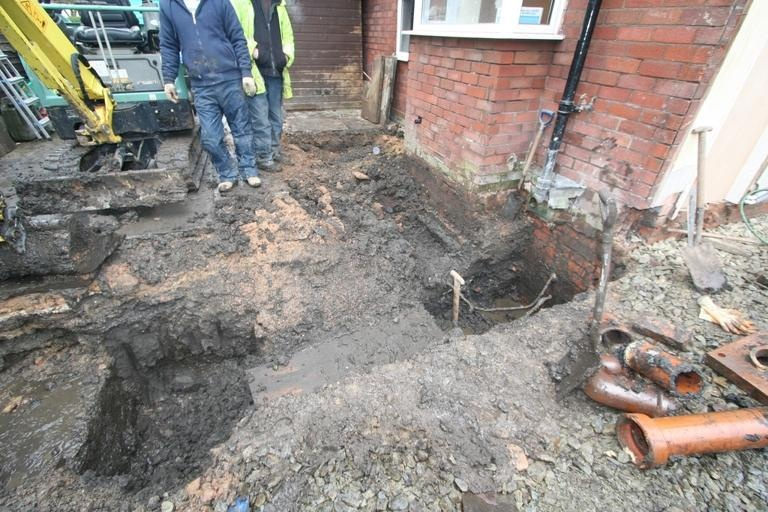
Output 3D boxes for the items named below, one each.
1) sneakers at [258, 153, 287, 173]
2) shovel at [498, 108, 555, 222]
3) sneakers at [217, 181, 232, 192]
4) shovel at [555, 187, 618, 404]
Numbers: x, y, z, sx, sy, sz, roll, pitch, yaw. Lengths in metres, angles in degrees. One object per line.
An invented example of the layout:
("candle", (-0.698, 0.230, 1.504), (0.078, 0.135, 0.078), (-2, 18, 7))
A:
("sneakers", (-1.763, -1.509, 6.052), (0.280, 0.175, 0.373), (-13, 31, -32))
("shovel", (1.746, -1.104, 4.726), (0.476, 1.302, 0.254), (-31, 45, -34))
("sneakers", (-2.167, -0.971, 5.306), (0.124, 0.079, 0.195), (-4, 8, 1))
("shovel", (2.084, 0.266, 3.757), (0.462, 2.194, 0.546), (-20, 29, -11))
